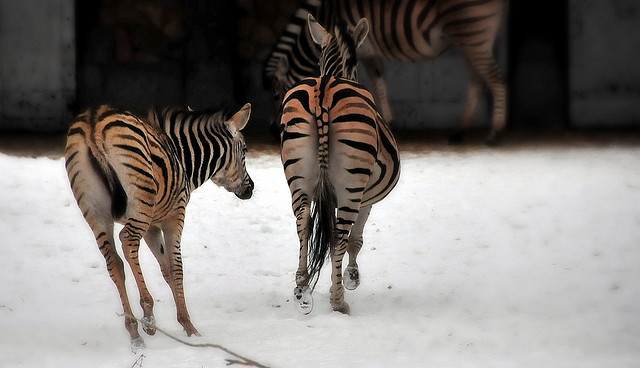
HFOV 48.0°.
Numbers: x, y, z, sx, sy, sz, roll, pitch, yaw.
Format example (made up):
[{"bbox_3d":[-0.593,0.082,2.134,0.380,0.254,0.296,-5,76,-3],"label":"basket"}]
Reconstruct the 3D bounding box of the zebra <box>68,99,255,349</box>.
[{"bbox_3d":[-1.950,0.584,8.719,0.871,2.429,2.681,-17,-17,27],"label":"zebra"}]
